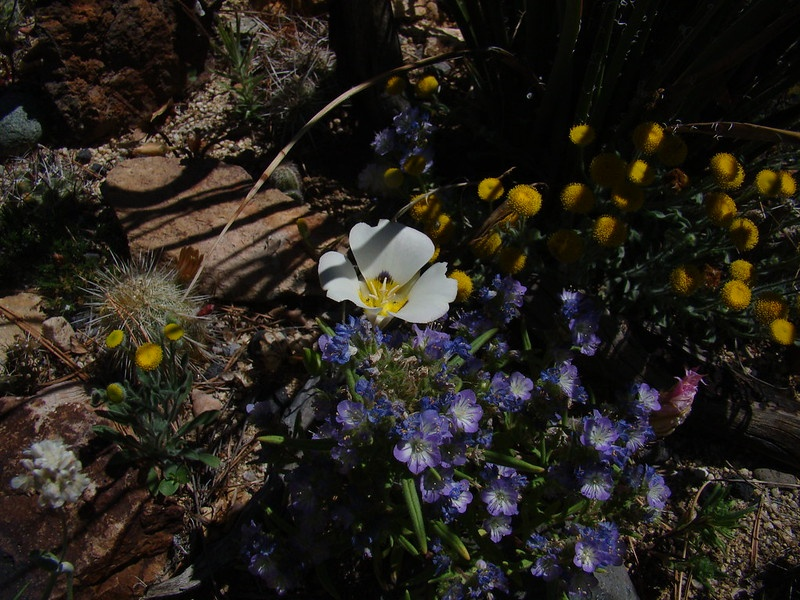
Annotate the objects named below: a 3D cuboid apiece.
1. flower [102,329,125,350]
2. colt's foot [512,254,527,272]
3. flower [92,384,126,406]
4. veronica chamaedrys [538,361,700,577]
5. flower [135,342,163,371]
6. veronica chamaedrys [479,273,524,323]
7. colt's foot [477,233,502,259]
[{"bbox_3d":[-1.407,0.189,3.209,0.082,0.021,0.089,-27,44,10],"label":"flower"},{"bbox_3d":[0.574,-0.173,3.092,0.033,0.074,0.084,40,126,31],"label":"colt's foot"},{"bbox_3d":[-1.357,0.446,3.043,0.125,0.047,0.135,-25,63,-9],"label":"flower"},{"bbox_3d":[0.956,0.759,2.849,0.483,0.592,0.915,1,100,2],"label":"veronica chamaedrys"},{"bbox_3d":[-1.164,0.260,3.015,0.106,0.043,0.131,2,89,23],"label":"flower"},{"bbox_3d":[0.464,-0.001,2.943,0.185,0.119,0.229,17,111,16],"label":"veronica chamaedrys"},{"bbox_3d":[0.422,-0.254,3.075,0.088,0.116,0.034,-32,46,12],"label":"colt's foot"}]
